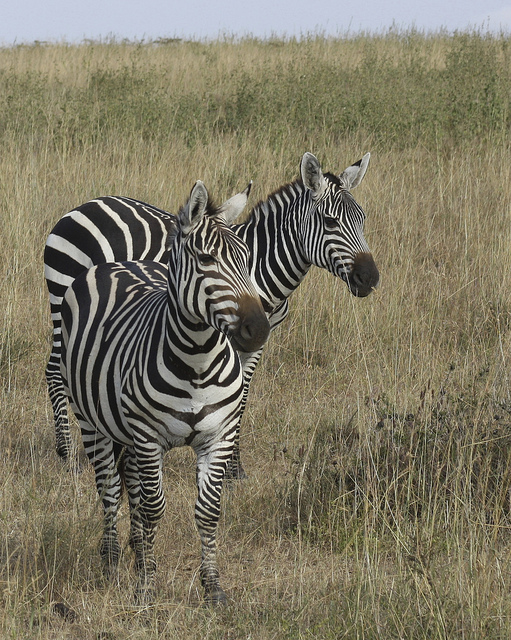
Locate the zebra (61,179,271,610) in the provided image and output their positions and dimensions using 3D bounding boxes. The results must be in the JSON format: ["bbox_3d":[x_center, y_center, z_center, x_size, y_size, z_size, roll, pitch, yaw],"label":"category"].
[{"bbox_3d":[-0.504,0.366,5.081,0.555,2.152,1.810,-6,6,-34],"label":"zebra"}]

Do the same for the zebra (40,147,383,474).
[{"bbox_3d":[-0.134,0.146,6.599,1.851,2.040,0.579,-4,-9,34],"label":"zebra"}]
